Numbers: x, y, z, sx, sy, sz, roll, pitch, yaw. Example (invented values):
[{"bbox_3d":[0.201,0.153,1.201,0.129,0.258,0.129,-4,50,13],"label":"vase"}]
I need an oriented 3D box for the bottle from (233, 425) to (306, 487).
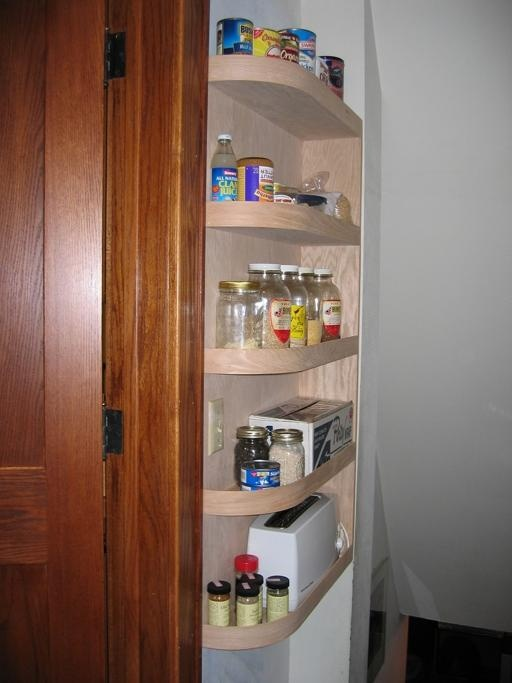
[{"bbox_3d":[0.028,0.230,1.220,0.152,0.186,0.092,-1,1,-9],"label":"bottle"}]

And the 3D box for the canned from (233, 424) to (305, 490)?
[{"bbox_3d":[0.032,0.240,1.211,0.147,0.186,0.092,-1,-2,12],"label":"canned"}]

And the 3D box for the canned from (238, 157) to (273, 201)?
[{"bbox_3d":[-0.001,-0.296,1.058,0.066,0.089,0.070,8,12,35],"label":"canned"}]

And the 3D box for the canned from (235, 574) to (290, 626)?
[{"bbox_3d":[0.021,0.512,1.161,0.106,0.138,0.067,-1,-9,9],"label":"canned"}]

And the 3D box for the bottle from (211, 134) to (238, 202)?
[{"bbox_3d":[-0.057,-0.313,1.044,0.049,0.119,0.042,-1,5,-2],"label":"bottle"}]

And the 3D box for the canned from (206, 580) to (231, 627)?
[{"bbox_3d":[-0.075,0.518,1.119,0.046,0.085,0.046,29,-45,-29],"label":"canned"}]

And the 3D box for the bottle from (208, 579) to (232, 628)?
[{"bbox_3d":[-0.073,0.509,1.113,0.039,0.088,0.045,-4,6,-29],"label":"bottle"}]

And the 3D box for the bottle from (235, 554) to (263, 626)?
[{"bbox_3d":[-0.014,0.505,1.158,0.028,0.087,0.087,0,-8,4],"label":"bottle"}]
